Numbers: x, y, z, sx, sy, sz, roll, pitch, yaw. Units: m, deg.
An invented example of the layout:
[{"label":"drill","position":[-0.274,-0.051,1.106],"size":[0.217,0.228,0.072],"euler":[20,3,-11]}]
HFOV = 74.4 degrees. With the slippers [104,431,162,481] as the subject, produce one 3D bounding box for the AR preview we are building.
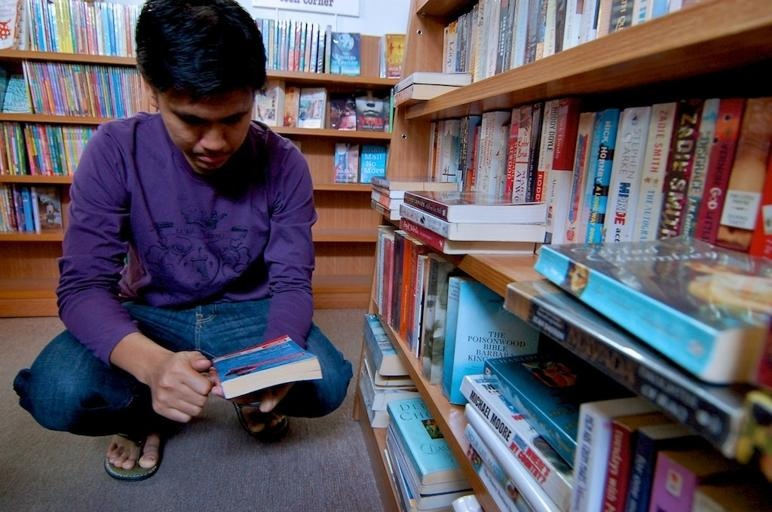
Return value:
[{"label":"slippers","position":[-0.804,0.635,1.609],"size":[0.139,0.084,0.161],"euler":[-14,22,-43]}]
